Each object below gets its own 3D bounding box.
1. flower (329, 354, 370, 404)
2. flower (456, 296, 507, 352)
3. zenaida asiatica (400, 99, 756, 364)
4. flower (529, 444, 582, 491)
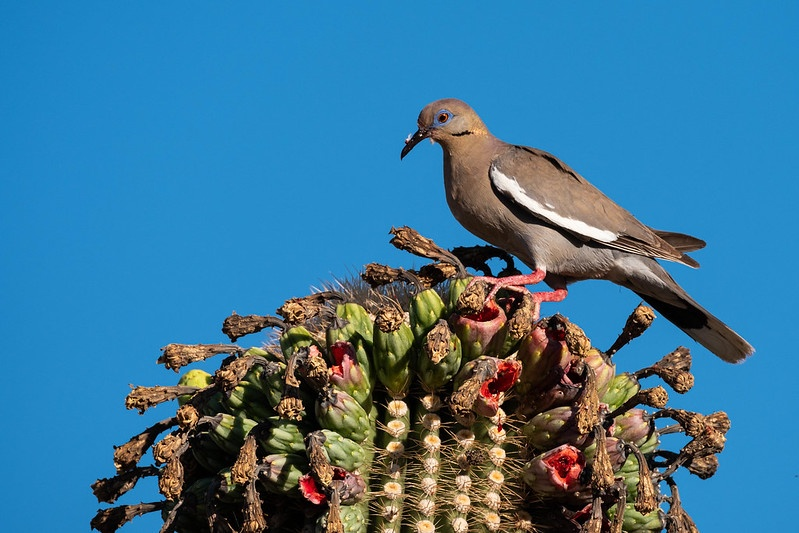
[{"bbox_3d":[-0.316,0.772,10.273,0.345,0.169,0.177,34,-62,-24],"label":"flower"},{"bbox_3d":[0.602,0.482,10.416,0.321,0.293,0.327,-21,-63,-29],"label":"flower"},{"bbox_3d":[1.540,-0.265,12.572,2.887,1.737,0.980,11,-13,-6],"label":"zenaida asiatica"},{"bbox_3d":[1.038,1.372,10.103,0.329,0.300,0.443,9,-11,-13],"label":"flower"}]
